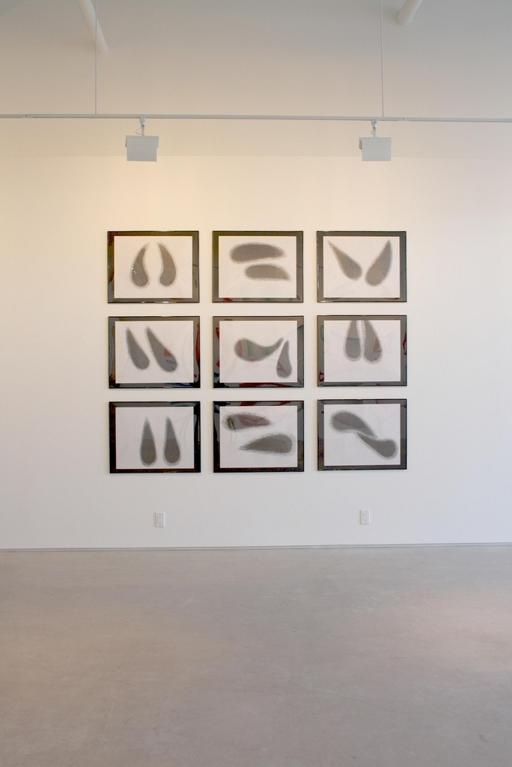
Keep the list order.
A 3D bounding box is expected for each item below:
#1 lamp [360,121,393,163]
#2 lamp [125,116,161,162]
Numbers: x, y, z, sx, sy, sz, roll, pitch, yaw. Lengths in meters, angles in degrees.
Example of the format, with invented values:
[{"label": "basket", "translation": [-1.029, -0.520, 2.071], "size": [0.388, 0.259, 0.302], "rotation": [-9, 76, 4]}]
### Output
[{"label": "lamp", "translation": [0.607, -1.240, 4.100], "size": [0.143, 0.194, 0.118], "rotation": [4, 14, 17]}, {"label": "lamp", "translation": [-0.600, -1.272, 4.210], "size": [0.149, 0.205, 0.524], "rotation": [-2, 15, -8]}]
